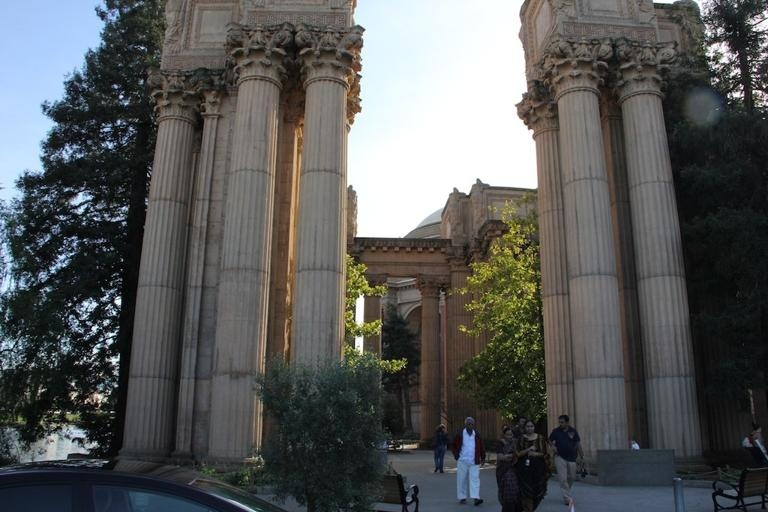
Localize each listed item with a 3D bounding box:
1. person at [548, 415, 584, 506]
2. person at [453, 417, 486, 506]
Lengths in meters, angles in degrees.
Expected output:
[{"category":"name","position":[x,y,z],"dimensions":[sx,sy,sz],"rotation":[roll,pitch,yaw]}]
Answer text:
[{"category":"person","position":[5.598,6.339,21.918],"dimensions":[0.825,2.686,0.935],"rotation":[-12,-20,30]},{"category":"person","position":[2.642,6.511,22.260],"dimensions":[0.676,2.611,0.906],"rotation":[13,-22,-40]}]
